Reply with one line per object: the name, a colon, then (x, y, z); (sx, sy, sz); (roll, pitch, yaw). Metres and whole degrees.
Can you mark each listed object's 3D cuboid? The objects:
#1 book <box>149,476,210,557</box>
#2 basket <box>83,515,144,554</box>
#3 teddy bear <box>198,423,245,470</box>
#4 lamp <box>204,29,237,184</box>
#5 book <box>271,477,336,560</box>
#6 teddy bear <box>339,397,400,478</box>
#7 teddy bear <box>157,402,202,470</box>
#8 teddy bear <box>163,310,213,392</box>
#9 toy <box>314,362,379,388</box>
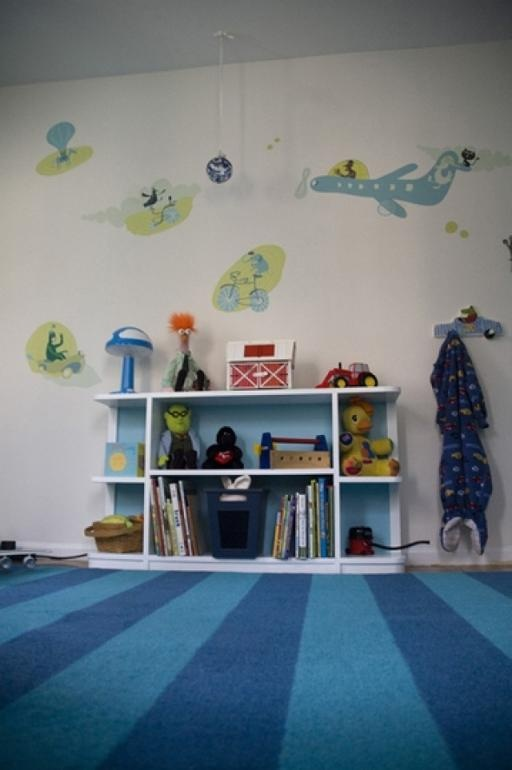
book: (-0.286, 0.466, 2.250); (0.181, 0.244, 0.147); (-1, 1, -7)
basket: (-0.501, 0.528, 2.289); (0.145, 0.081, 0.181); (2, -6, -15)
teddy bear: (-0.119, 0.254, 2.410); (0.187, 0.213, 0.139); (5, -34, -5)
lamp: (-0.156, -1.191, 2.788); (0.131, 0.563, 0.219); (-1, 1, -2)
book: (0.184, 0.490, 2.302); (0.255, 0.342, 0.267); (0, -13, 8)
teddy bear: (0.382, 0.193, 2.284); (0.222, 0.314, 0.241); (-11, -18, 42)
teddy bear: (-0.295, 0.240, 2.406); (0.168, 0.352, 0.119); (2, -21, -23)
teddy bear: (-0.282, -0.140, 2.518); (0.173, 0.275, 0.427); (-1, 1, -4)
toy: (0.335, -0.035, 2.322); (0.209, 0.096, 0.093); (0, -4, 2)
